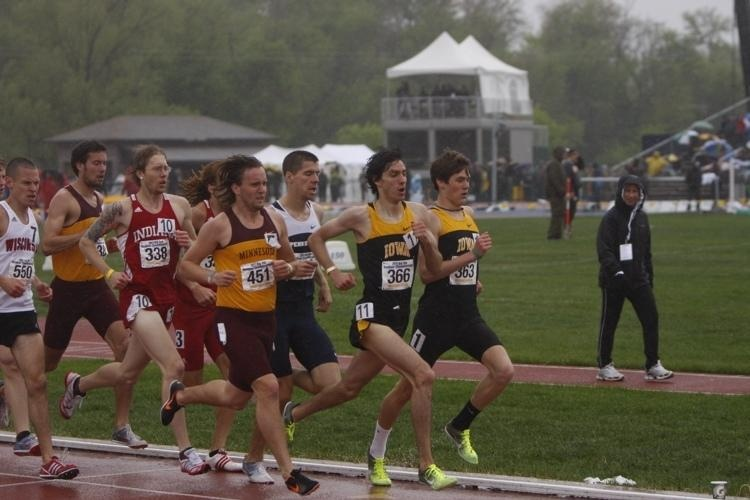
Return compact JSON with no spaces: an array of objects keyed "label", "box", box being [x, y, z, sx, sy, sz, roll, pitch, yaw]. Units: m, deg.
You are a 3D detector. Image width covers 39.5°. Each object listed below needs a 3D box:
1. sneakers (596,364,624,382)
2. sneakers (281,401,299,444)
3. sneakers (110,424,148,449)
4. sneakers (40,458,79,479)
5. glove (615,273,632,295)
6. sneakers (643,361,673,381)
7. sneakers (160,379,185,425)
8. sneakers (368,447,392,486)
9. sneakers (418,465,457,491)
[{"label":"sneakers","box":[3.323,1.720,14.699,0.343,0.172,0.202,-1,1,41]},{"label":"sneakers","box":[-0.994,1.948,11.859,0.225,0.540,0.188,1,-4,9]},{"label":"sneakers","box":[-2.795,2.178,12.191,0.538,0.235,0.187,11,1,24]},{"label":"sneakers","box":[-3.422,2.353,11.303,0.488,0.235,0.185,-5,-13,21]},{"label":"glove","box":[3.433,0.441,14.438,0.198,0.262,0.246,-20,-9,6]},{"label":"sneakers","box":[3.966,1.692,14.630,0.421,0.245,0.203,-1,2,13]},{"label":"sneakers","box":[-2.236,1.677,11.473,0.211,0.523,0.210,10,11,-40]},{"label":"sneakers","box":[0.057,2.358,11.348,0.255,0.354,0.255,-1,3,-2]},{"label":"sneakers","box":[0.628,2.387,11.090,0.199,0.205,0.465,-25,17,-39]}]
